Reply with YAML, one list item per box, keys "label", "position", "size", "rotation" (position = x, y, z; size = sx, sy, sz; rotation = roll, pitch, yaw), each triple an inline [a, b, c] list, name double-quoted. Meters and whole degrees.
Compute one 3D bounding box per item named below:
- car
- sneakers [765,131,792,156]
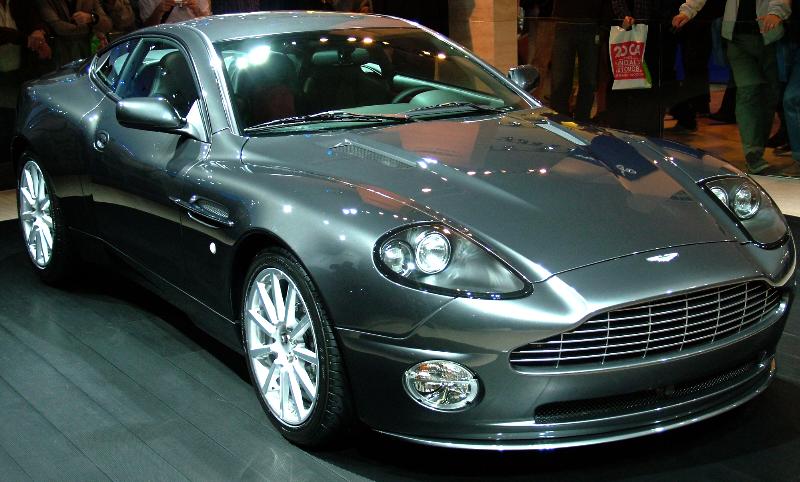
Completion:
- label: "car"
  position: [-0.594, -0.212, 3.733]
  size: [2.353, 1.451, 4.599]
  rotation: [-15, 25, -37]
- label: "sneakers"
  position: [4.175, -1.066, 6.327]
  size: [0.153, 0.240, 0.111]
  rotation: [8, 14, 30]
